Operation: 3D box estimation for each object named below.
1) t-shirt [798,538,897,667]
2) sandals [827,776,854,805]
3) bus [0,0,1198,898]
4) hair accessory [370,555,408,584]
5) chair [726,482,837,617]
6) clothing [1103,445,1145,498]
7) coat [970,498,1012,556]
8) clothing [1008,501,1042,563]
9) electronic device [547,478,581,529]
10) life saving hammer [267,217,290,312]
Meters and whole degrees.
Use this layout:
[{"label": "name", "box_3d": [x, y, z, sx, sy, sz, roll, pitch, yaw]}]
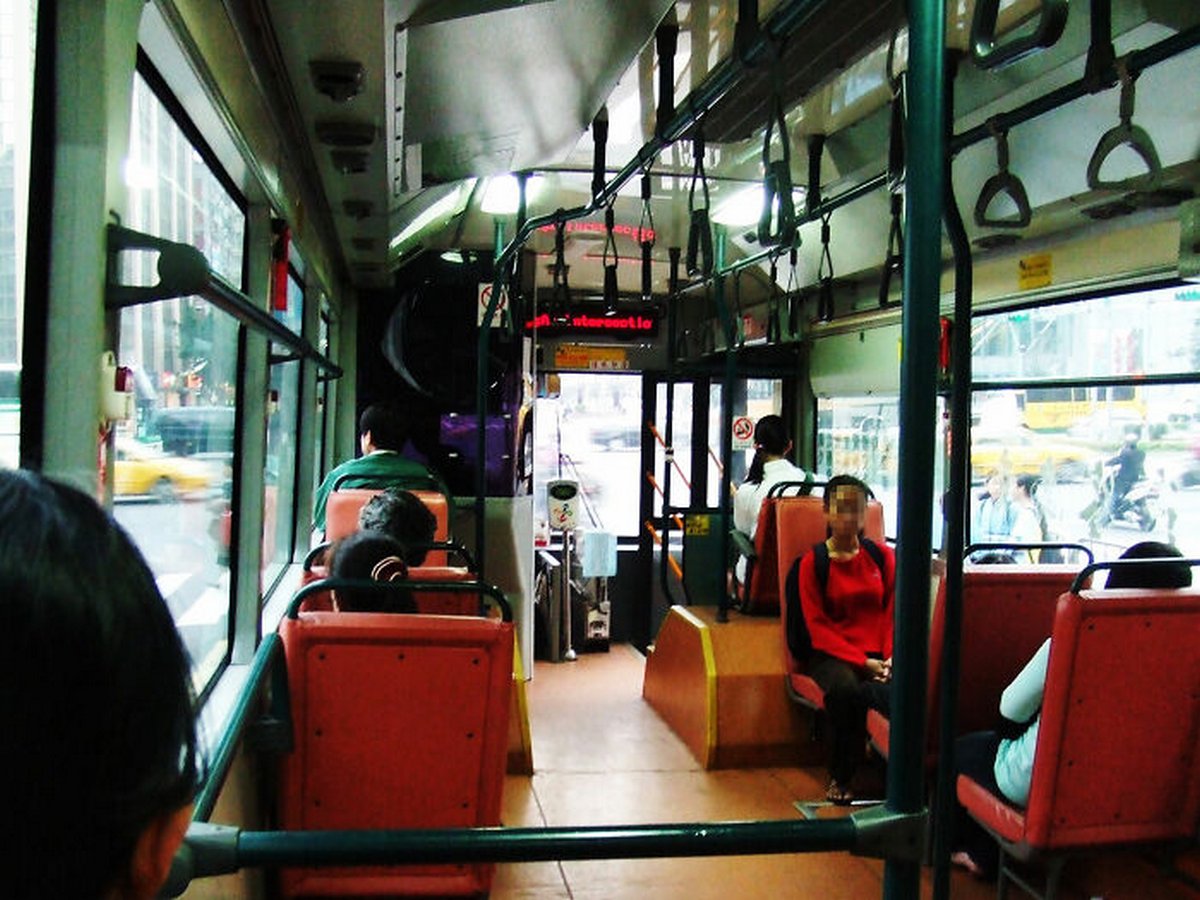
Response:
[{"label": "t-shirt", "box_3d": [1.307, 0.796, 5.281, 0.485, 0.679, 0.405, -2, -11, -3]}, {"label": "sandals", "box_3d": [1.163, 1.668, 4.944, 0.071, 0.176, 0.175, -2, -12, 19]}, {"label": "bus", "box_3d": [0.196, -0.058, 3.892, 3.565, 5.269, 0.262, 2, -7, -9]}, {"label": "hair accessory", "box_3d": [-0.702, 0.404, 3.400, 0.083, 0.074, 0.090, -23, -41, 26]}, {"label": "chair", "box_3d": [1.167, 0.619, 5.988, 0.470, 0.640, 0.550, 9, 17, -44]}, {"label": "clothing", "box_3d": [2.592, 0.107, 5.005, 0.189, 0.266, 0.423, 8, -1, 14]}, {"label": "coat", "box_3d": [2.229, 0.426, 5.762, 0.124, 0.420, 0.276, 12, -9, -10]}, {"label": "clothing", "box_3d": [2.472, 0.469, 5.897, 0.177, 0.373, 0.248, 3, 5, 29]}, {"label": "electronic device", "box_3d": [-0.320, 0.458, 8.663, 0.322, 0.609, 0.346, 1, -4, -6]}, {"label": "life saving hammer", "box_3d": [-1.260, -0.718, 4.072, 0.104, 0.318, 0.076, 4, 2, 17]}]
